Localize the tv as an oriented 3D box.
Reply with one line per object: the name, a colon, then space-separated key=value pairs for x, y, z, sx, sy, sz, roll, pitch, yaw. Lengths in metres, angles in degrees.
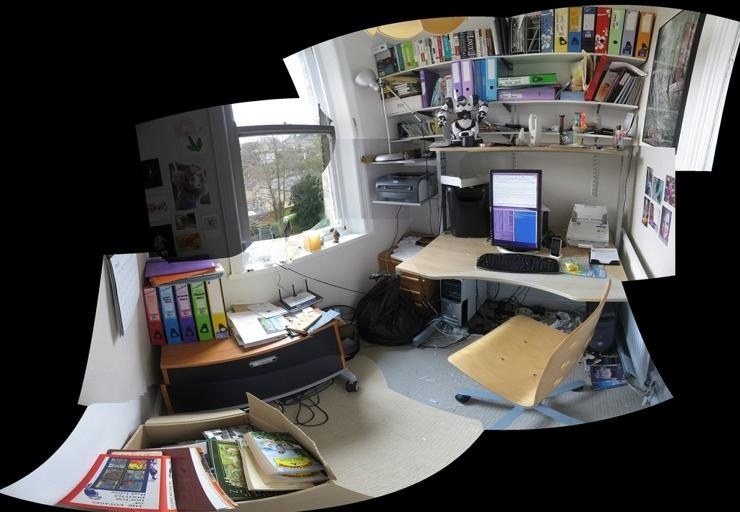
tv: x=0.581 y=-0.190 z=1.926 sx=0.283 sy=0.383 sz=0.056 roll=8 pitch=27 yaw=35

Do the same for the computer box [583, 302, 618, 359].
computer box: x=1.058 y=0.349 z=2.153 sx=0.147 sy=0.151 sz=0.253 roll=-20 pitch=40 yaw=44

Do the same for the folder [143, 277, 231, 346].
folder: x=-0.733 y=0.218 z=1.912 sx=0.265 sy=0.241 sz=0.182 roll=-9 pitch=6 yaw=-4

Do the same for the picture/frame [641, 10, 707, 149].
picture/frame: x=0.629 y=-0.362 z=1.026 sx=0.079 sy=0.252 sz=0.134 roll=13 pitch=13 yaw=29

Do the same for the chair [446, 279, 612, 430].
chair: x=0.625 y=0.390 z=1.861 sx=0.350 sy=0.360 sz=0.316 roll=-30 pitch=48 yaw=-22
